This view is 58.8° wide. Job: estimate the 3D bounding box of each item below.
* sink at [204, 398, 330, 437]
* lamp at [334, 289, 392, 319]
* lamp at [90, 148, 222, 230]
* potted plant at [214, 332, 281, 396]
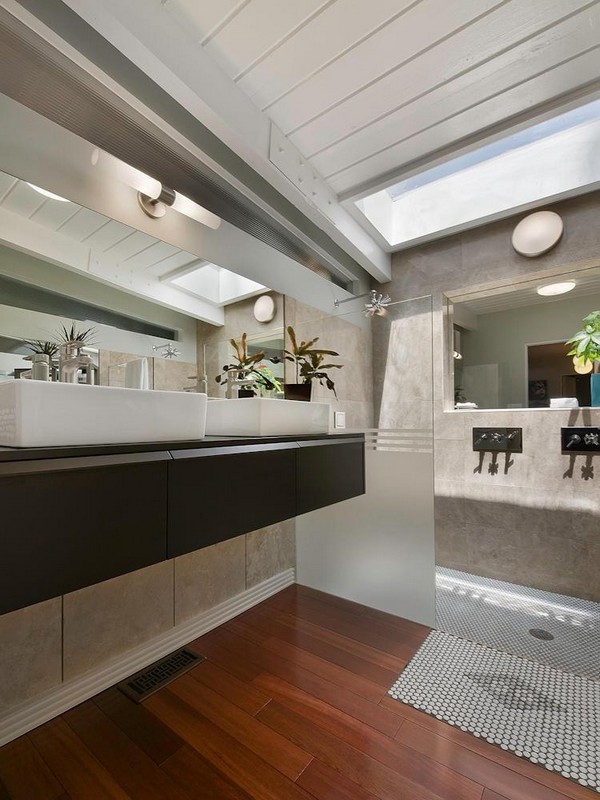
[{"bbox_3d":[-0.062,0.065,1.986,0.519,0.160,0.308,-1,3,-36],"label":"sink"},{"bbox_3d":[0.361,-0.481,2.671,0.141,0.161,0.303,2,-6,-44],"label":"lamp"},{"bbox_3d":[-0.476,-0.717,1.911,0.099,0.080,0.611,-43,-22,24],"label":"lamp"},{"bbox_3d":[-0.207,-0.157,2.341,0.243,0.246,0.249,-2,3,32],"label":"potted plant"}]
